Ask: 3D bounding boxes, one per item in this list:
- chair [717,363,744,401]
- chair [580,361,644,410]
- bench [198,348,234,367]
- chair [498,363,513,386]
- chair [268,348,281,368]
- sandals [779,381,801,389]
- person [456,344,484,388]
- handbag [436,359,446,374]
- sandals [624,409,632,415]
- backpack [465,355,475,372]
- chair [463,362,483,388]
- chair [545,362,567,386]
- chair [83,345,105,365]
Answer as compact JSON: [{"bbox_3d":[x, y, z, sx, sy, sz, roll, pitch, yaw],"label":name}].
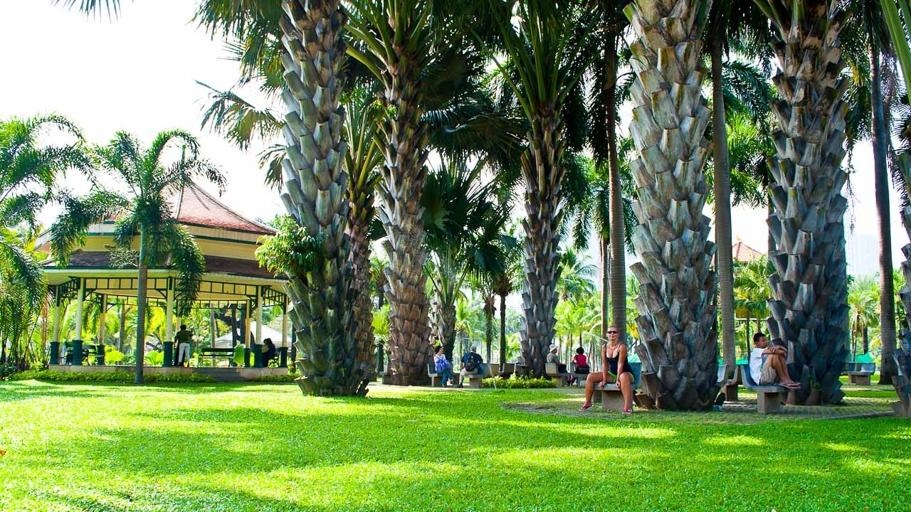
[{"bbox_3d":[7.709,3.528,23.130,0.744,0.968,1.343,0,-7,-4],"label":"chair"},{"bbox_3d":[4.203,3.450,21.781,0.973,1.537,0.879,-14,-39,37],"label":"chair"},{"bbox_3d":[-11.232,4.706,38.595,1.923,1.012,0.725,3,-26,-6],"label":"bench"},{"bbox_3d":[1.859,4.475,31.746,0.473,0.858,0.461,4,-11,-11],"label":"chair"},{"bbox_3d":[-7.752,4.440,35.352,0.533,0.780,0.609,-7,-11,38],"label":"chair"},{"bbox_3d":[8.771,3.360,21.543,0.266,0.144,0.513,2,-9,-16],"label":"sandals"},{"bbox_3d":[0.527,4.081,30.262,0.967,1.505,0.850,1,2,-43],"label":"person"},{"bbox_3d":[-0.501,3.962,29.660,0.407,0.492,0.268,2,-20,-6],"label":"handbag"},{"bbox_3d":[4.357,3.904,20.743,0.222,0.091,0.424,1,8,10],"label":"sandals"},{"bbox_3d":[0.554,3.913,30.096,0.363,0.536,0.306,-10,-32,18],"label":"backpack"},{"bbox_3d":[0.583,4.384,29.882,0.667,0.985,0.689,10,-13,-43],"label":"chair"},{"bbox_3d":[3.693,4.208,29.435,0.847,1.043,0.709,2,-3,-31],"label":"chair"},{"bbox_3d":[-15.467,4.211,35.334,0.796,0.632,0.711,-1,-9,8],"label":"chair"}]
